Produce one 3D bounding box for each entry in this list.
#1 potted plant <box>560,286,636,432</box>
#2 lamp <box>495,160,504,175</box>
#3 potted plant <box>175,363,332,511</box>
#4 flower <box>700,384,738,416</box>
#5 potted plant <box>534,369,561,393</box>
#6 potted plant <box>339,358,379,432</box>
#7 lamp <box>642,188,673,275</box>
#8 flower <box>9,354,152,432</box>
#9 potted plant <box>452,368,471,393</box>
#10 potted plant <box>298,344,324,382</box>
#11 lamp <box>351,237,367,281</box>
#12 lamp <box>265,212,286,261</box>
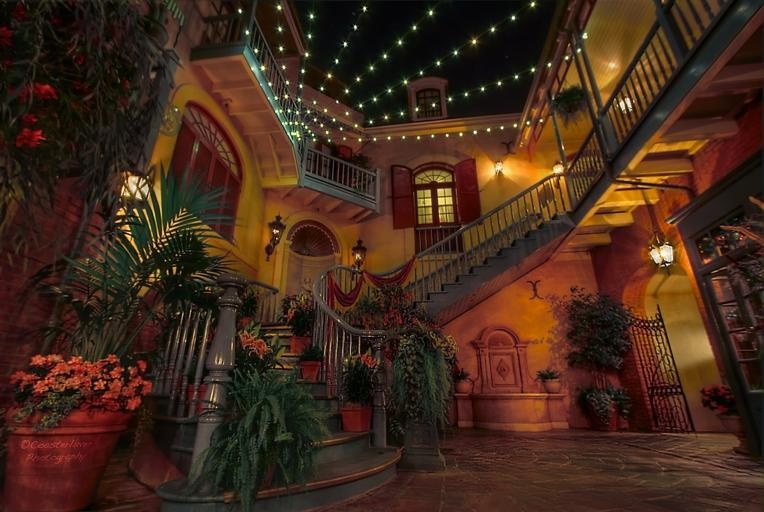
[{"bbox_3d":[4.928,2.165,9.004,1.531,3.232,0.738,-12,-24,21],"label":"potted plant"},{"bbox_3d":[3.201,-2.418,10.715,0.253,0.342,0.114,1,3,3],"label":"lamp"},{"bbox_3d":[-1.057,1.553,3.794,1.222,1.205,1.031,-6,-13,34],"label":"potted plant"},{"bbox_3d":[5.316,2.277,6.322,0.522,0.467,0.531,-12,-9,33],"label":"flower"},{"bbox_3d":[3.771,2.876,9.029,0.499,0.512,0.479,1,-26,5],"label":"potted plant"},{"bbox_3d":[-0.303,1.733,5.040,0.432,0.947,0.445,0,-22,-5],"label":"potted plant"},{"bbox_3d":[5.333,-0.463,7.689,0.397,1.525,0.997,-18,-27,33],"label":"lamp"},{"bbox_3d":[-2.656,1.163,3.447,0.754,0.451,0.761,-1,-3,6],"label":"flower"},{"bbox_3d":[1.818,2.893,9.111,0.662,0.542,0.344,17,-29,-39],"label":"potted plant"},{"bbox_3d":[-0.882,1.408,5.134,0.355,0.467,0.369,0,-8,1],"label":"potted plant"},{"bbox_3d":[-0.600,-0.072,10.308,0.382,0.933,0.416,-1,-22,-4],"label":"lamp"},{"bbox_3d":[-2.488,-0.461,9.169,0.406,1.149,0.403,1,-22,-9],"label":"lamp"}]
